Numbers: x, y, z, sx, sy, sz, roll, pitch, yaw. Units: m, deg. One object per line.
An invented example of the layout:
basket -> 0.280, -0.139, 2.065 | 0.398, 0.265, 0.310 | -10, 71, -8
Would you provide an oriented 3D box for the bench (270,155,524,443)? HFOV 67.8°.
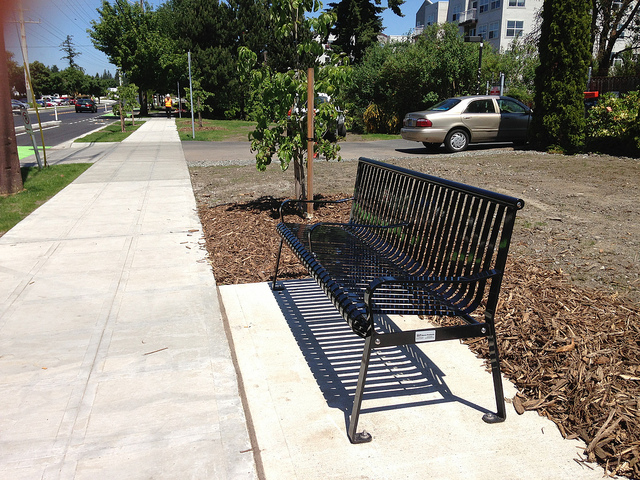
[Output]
bench -> 0.592, 0.521, 3.962 | 0.935, 1.042, 2.444 | -1, 13, -11
